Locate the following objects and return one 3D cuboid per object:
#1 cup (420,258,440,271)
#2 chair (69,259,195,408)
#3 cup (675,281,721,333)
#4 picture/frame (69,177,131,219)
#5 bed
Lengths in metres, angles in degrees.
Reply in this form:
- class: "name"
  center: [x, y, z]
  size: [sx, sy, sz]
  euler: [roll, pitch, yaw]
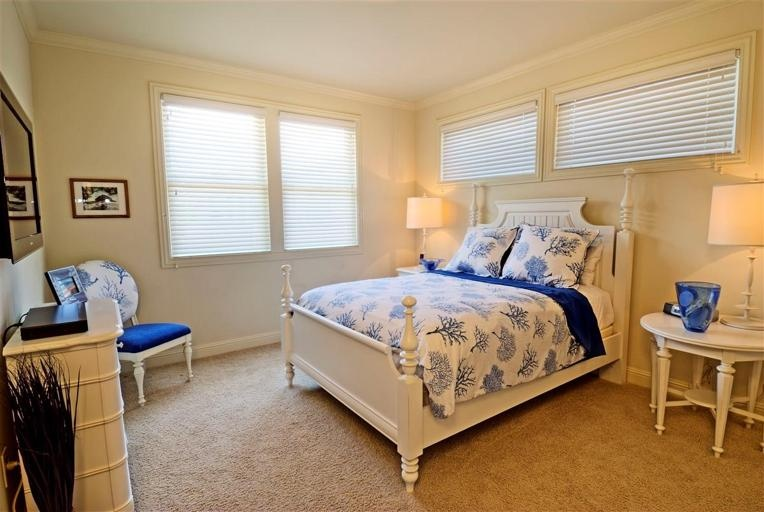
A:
- class: "cup"
  center: [0.587, 0.114, 6.374]
  size: [0.163, 0.101, 0.166]
  euler: [-1, -5, 0]
- class: "chair"
  center: [-2.420, 0.681, 5.063]
  size: [0.790, 1.276, 0.765]
  euler: [-2, 8, 28]
- class: "cup"
  center: [2.612, 0.426, 4.333]
  size: [0.293, 0.397, 0.222]
  euler: [-1, 8, 11]
- class: "picture/frame"
  center: [-2.859, -0.579, 5.214]
  size: [0.422, 0.397, 0.029]
  euler: [-4, 10, -28]
- class: "bed"
  center: [0.705, 0.607, 5.472]
  size: [3.194, 2.588, 2.416]
  euler: [-3, 6, -33]
